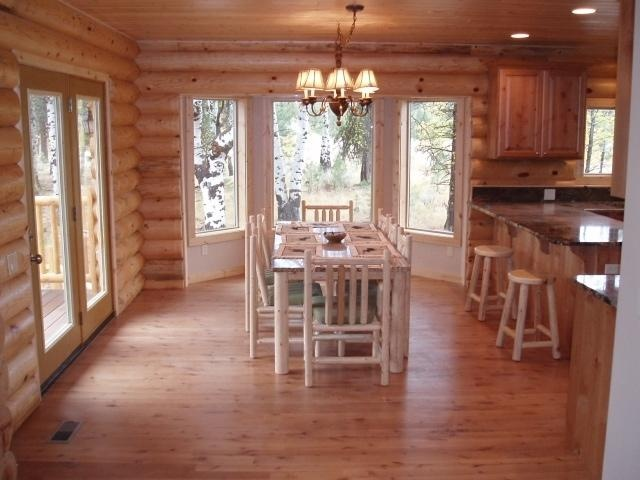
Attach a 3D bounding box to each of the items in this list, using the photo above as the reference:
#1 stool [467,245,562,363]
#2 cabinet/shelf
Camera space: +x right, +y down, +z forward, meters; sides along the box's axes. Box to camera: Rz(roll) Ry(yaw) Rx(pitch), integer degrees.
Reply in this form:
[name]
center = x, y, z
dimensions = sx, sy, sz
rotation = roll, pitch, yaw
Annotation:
[stool]
center = 2.022, 0.682, 5.532
dimensions = 0.408, 0.552, 1.103
rotation = -2, 9, -3
[cabinet/shelf]
center = 2.647, -1.563, 6.477
dimensions = 1.362, 1.048, 0.489
rotation = 1, 5, 3
